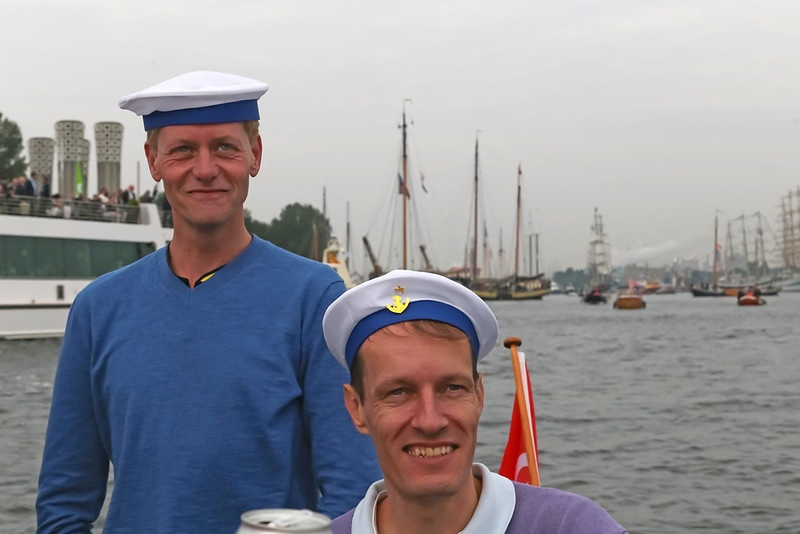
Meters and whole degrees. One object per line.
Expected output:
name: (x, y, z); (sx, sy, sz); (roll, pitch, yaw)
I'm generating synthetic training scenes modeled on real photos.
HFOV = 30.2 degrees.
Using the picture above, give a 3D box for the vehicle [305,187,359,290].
vehicle: (-4.025, -1.257, 94.893); (1.216, 5.507, 5.615); (19, -11, -9)
